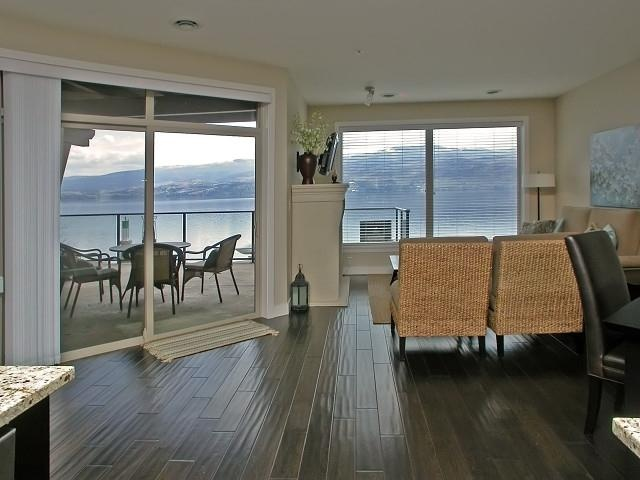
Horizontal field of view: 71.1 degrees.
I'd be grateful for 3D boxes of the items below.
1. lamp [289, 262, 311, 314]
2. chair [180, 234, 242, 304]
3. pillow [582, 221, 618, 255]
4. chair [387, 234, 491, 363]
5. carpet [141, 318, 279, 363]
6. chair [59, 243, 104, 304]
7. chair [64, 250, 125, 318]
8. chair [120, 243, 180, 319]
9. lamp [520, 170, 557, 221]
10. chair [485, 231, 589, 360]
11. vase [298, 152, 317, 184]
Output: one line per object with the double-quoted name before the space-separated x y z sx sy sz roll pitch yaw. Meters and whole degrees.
"lamp" -0.249 0.561 5.366 0.235 0.531 0.370 -1 9 -3
"chair" -1.186 0.275 4.862 0.589 0.692 0.609 5 6 35
"pillow" 2.237 -0.025 3.552 0.266 0.265 0.082 4 -34 28
"chair" 0.997 0.421 3.604 0.743 1.019 0.968 1 2 3
"carpet" -1.063 0.954 4.361 1.189 0.042 0.664 -8 11 -39
"chair" -2.145 0.300 4.138 0.396 0.516 0.421 7 11 32
"chair" -2.150 0.314 4.180 0.413 0.662 0.516 8 10 42
"chair" -1.598 0.359 4.420 0.625 0.872 0.601 -1 7 -23
"lamp" 3.457 -0.686 7.065 0.443 0.751 0.632 4 10 26
"chair" 1.747 0.473 3.883 0.699 0.920 0.718 -1 -3 1
"vase" -0.162 -0.909 5.662 0.262 0.395 0.428 -1 9 0
